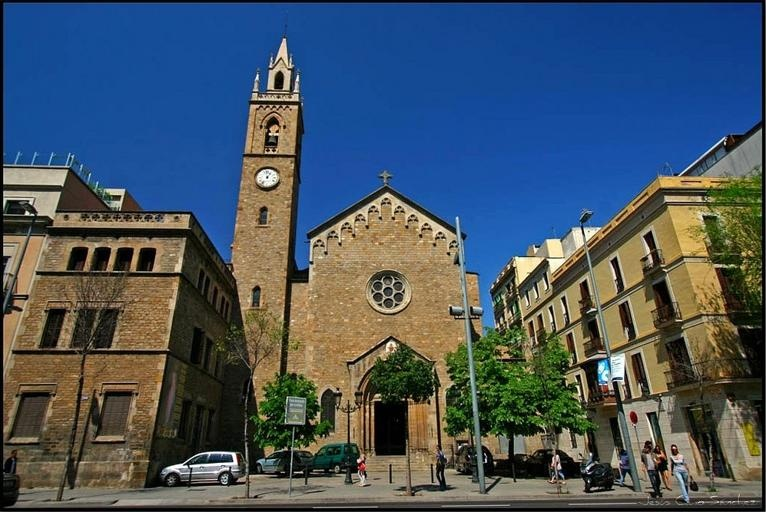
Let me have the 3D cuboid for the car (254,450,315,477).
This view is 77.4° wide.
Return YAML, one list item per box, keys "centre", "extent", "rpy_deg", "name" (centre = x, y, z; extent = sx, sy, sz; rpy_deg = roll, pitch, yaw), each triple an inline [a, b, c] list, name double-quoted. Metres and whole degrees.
- centre: [-7.292, 14.710, 34.295]
  extent: [4.094, 1.726, 1.647]
  rpy_deg: [-8, -25, 11]
  name: "car"

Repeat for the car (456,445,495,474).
- centre: [6.627, 14.108, 33.758]
  extent: [2.211, 1.769, 3.506]
  rpy_deg: [2, -28, -1]
  name: "car"

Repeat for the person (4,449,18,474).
- centre: [-20.537, 11.192, 26.363]
  extent: [0.623, 1.185, 1.286]
  rpy_deg: [15, -30, -32]
  name: "person"

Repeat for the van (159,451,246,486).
- centre: [-11.043, 12.969, 29.416]
  extent: [4.330, 1.718, 2.171]
  rpy_deg: [6, -34, -8]
  name: "van"

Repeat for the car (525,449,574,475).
- centre: [11.634, 14.360, 33.461]
  extent: [2.286, 1.039, 2.898]
  rpy_deg: [12, -16, 0]
  name: "car"

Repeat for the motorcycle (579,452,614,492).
- centre: [11.603, 11.585, 25.929]
  extent: [1.299, 1.859, 2.132]
  rpy_deg: [-18, -29, 30]
  name: "motorcycle"
